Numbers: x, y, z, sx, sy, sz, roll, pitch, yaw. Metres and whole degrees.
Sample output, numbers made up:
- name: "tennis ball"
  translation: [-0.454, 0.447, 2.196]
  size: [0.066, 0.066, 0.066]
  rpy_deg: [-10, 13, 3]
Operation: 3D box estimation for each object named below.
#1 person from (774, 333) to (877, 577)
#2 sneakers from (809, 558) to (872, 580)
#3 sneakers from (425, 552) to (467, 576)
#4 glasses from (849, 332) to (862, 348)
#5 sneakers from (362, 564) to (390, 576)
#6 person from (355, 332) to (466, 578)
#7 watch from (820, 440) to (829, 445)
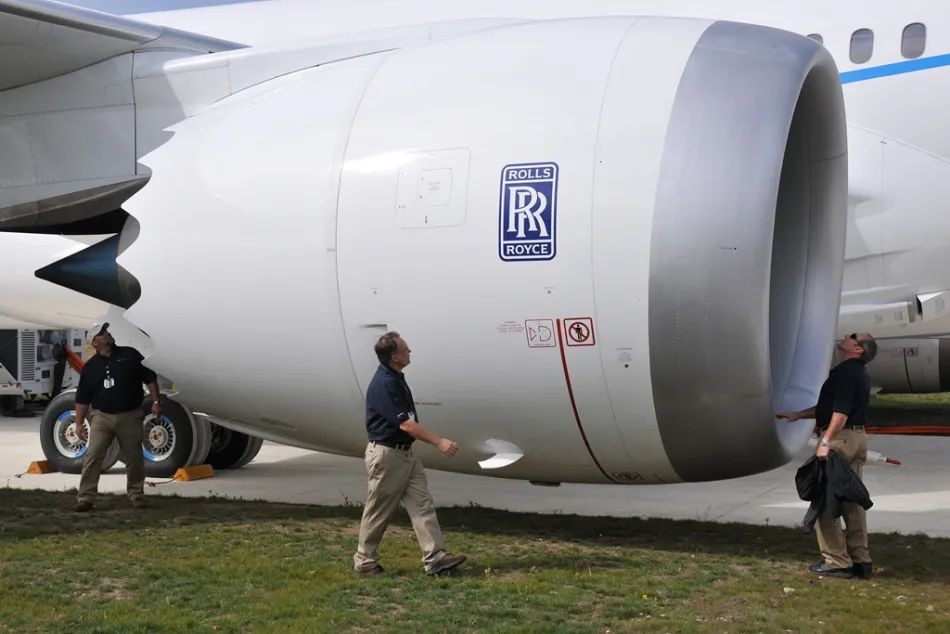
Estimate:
- name: "person"
  translation: [3.566, 1.346, 8.082]
  size: [0.702, 2.350, 0.793]
  rpy_deg: [3, 4, 25]
- name: "sneakers"
  translation: [3.577, 2.469, 8.008]
  size: [0.532, 0.232, 0.217]
  rpy_deg: [0, -6, 23]
- name: "sneakers"
  translation: [-0.310, 2.383, 7.943]
  size: [0.468, 0.218, 0.180]
  rpy_deg: [-10, -15, -2]
- name: "glasses"
  translation: [3.782, 0.237, 8.169]
  size: [0.131, 0.073, 0.130]
  rpy_deg: [-2, -37, 0]
- name: "sneakers"
  translation: [-0.985, 2.446, 7.943]
  size: [0.253, 0.100, 0.089]
  rpy_deg: [0, -1, -7]
- name: "person"
  translation: [-0.707, 1.317, 7.879]
  size: [0.985, 2.327, 0.548]
  rpy_deg: [1, 4, 4]
- name: "watch"
  translation: [3.374, 1.207, 7.934]
  size: [0.055, 0.050, 0.013]
  rpy_deg: [-2, -25, 27]
